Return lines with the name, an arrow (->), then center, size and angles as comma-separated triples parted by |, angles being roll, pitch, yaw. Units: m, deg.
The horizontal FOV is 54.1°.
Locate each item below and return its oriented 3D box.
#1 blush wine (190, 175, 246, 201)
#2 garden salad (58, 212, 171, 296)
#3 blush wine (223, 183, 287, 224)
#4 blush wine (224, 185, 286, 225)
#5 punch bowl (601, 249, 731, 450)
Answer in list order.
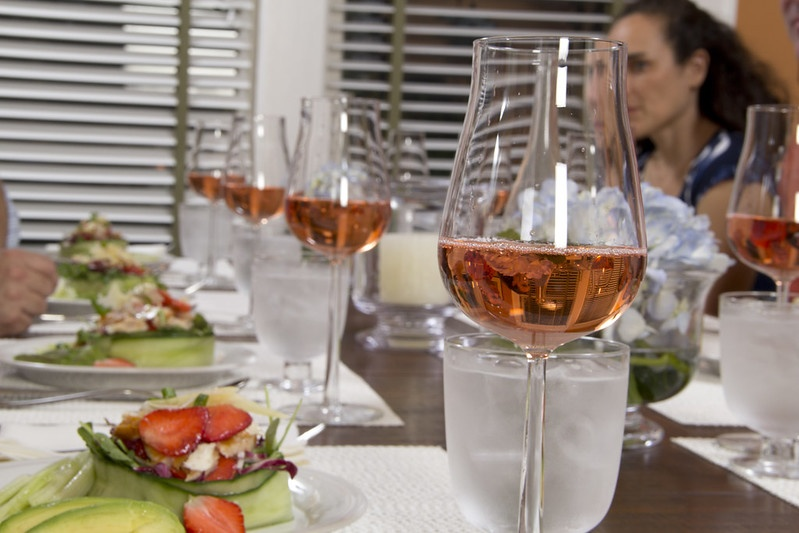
blush wine -> -0.406, -0.180, 1.748 | 0.096, 0.051, 0.096 | 1, 2, -3
garden salad -> -0.574, -0.013, 1.524 | 0.207, 0.108, 0.205 | 2, 6, -7
blush wine -> -0.295, -0.124, 1.590 | 0.112, 0.080, 0.112 | 0, 2, -3
blush wine -> -0.288, -0.130, 1.540 | 0.110, 0.079, 0.109 | 0, 2, -4
punch bowl -> 0.275, 0.103, 1.039 | 0.197, 0.250, 0.208 | 2, 2, 0
